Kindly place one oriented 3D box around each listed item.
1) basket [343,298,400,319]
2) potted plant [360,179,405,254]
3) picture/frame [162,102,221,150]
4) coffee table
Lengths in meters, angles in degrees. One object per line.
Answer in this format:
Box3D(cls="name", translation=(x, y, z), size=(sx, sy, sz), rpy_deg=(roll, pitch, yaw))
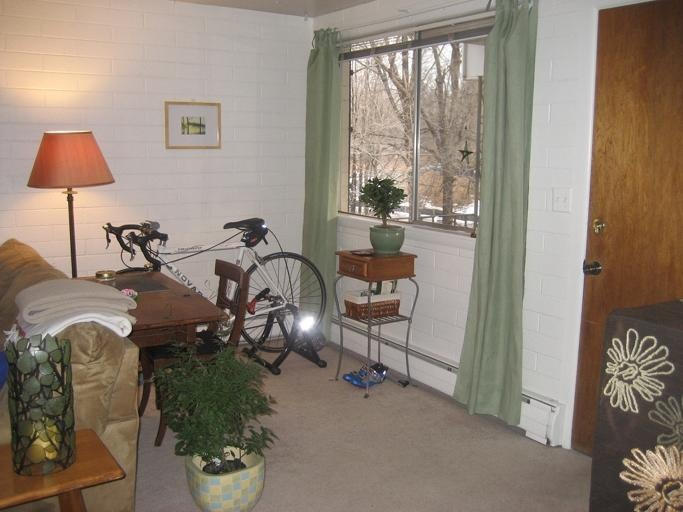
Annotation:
Box3D(cls="basket", translation=(0.245, 0.427, 4.134), size=(0.293, 0.110, 0.191), rpy_deg=(-1, 2, -27))
Box3D(cls="potted plant", translation=(0.332, -0.325, 4.141), size=(0.350, 0.596, 0.436), rpy_deg=(1, 7, 11))
Box3D(cls="picture/frame", translation=(-1.365, -1.163, 4.630), size=(0.439, 0.365, 0.017), rpy_deg=(-3, 6, -33))
Box3D(cls="coffee table", translation=(0.200, 0.477, 4.387), size=(0.693, 1.113, 0.918), rpy_deg=(-7, 15, -30))
